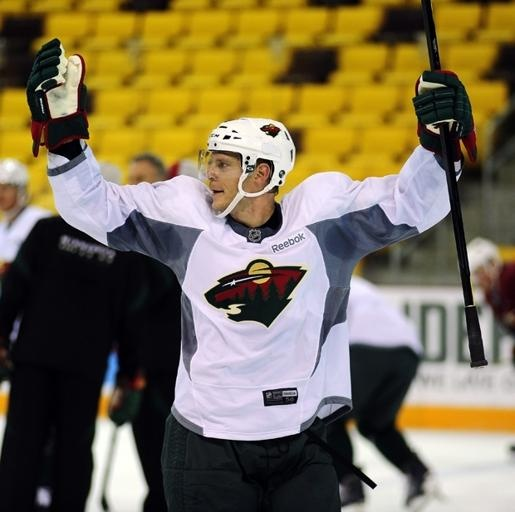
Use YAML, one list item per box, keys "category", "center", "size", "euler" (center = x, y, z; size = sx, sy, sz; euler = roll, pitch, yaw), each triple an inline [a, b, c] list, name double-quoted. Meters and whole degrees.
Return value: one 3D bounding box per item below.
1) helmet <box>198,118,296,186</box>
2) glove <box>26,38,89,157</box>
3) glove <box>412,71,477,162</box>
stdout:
- category: "helmet"
  center: [-0.029, -0.343, 3.615]
  size: [0.270, 0.234, 0.220]
  euler: [5, -3, -17]
- category: "glove"
  center: [-0.655, -0.502, 3.327]
  size: [0.207, 0.371, 0.122]
  euler: [-10, -7, 4]
- category: "glove"
  center: [0.612, -0.488, 3.420]
  size: [0.207, 0.314, 0.115]
  euler: [2, -15, -38]
